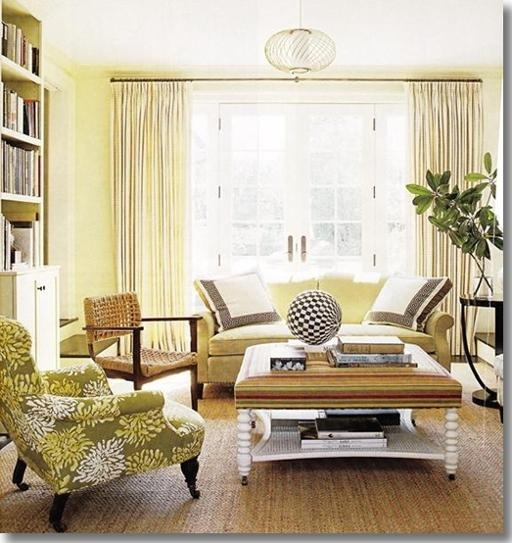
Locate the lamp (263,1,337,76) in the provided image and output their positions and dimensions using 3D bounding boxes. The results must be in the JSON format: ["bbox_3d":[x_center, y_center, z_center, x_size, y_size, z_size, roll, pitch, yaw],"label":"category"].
[{"bbox_3d":[0.290,-1.481,3.284,0.450,0.270,0.366,0,4,3],"label":"lamp"}]
